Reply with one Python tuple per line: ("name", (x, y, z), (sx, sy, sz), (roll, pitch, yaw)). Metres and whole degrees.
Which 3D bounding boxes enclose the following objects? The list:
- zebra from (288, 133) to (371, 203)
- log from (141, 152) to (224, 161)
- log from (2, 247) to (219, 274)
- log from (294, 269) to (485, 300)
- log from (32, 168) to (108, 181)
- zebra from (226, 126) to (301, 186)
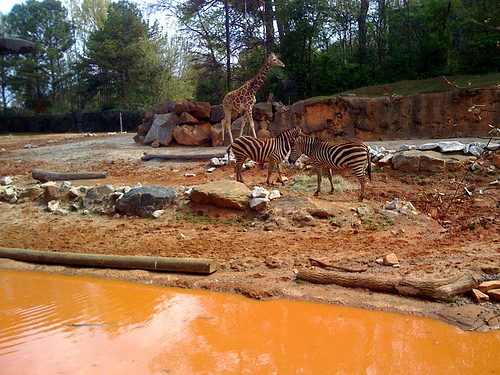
("zebra", (2.153, -0.574, 12.097), (1.300, 1.648, 2.128), (-8, 12, -31))
("log", (-2.422, -1.119, 16.806), (2.450, 0.335, 0.366), (1, 27, 7))
("log", (-2.768, 1.519, 9.466), (4.366, 0.293, 0.308), (3, 7, 17))
("log", (2.457, 1.679, 7.875), (3.115, 0.558, 0.435), (1, 6, 13))
("log", (-5.918, -0.400, 15.154), (2.337, 0.360, 0.411), (0, 10, -19))
("zebra", (0.441, -0.834, 12.868), (1.995, 1.737, 0.660), (5, 19, 8))
